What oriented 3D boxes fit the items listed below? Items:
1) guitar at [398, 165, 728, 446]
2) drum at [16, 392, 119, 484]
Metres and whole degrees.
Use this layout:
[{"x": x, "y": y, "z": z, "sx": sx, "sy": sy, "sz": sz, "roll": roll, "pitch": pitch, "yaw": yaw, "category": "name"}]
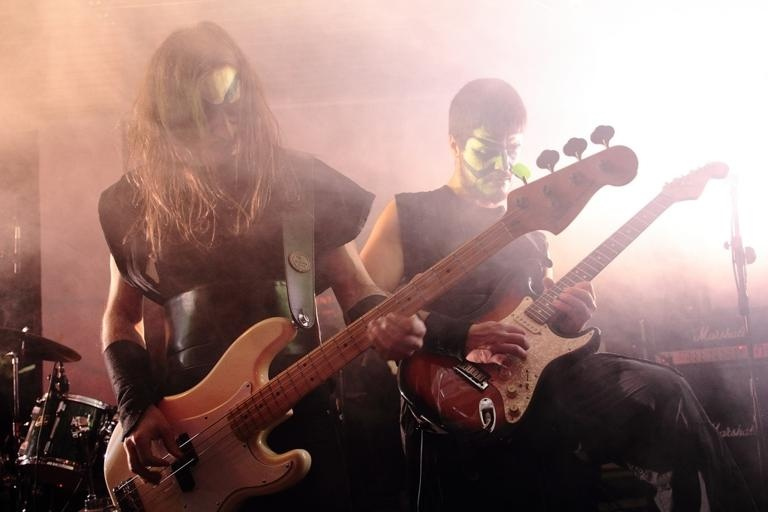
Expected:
[{"x": 0.888, "y": 0.249, "z": 2.807, "sx": 1.759, "sy": 0.225, "sz": 0.572, "roll": -40, "pitch": 43, "yaw": -5, "category": "guitar"}, {"x": -1.498, "y": 0.849, "z": 3.126, "sx": 0.420, "sy": 0.424, "sz": 0.399, "roll": 7, "pitch": 54, "yaw": -35, "category": "drum"}]
